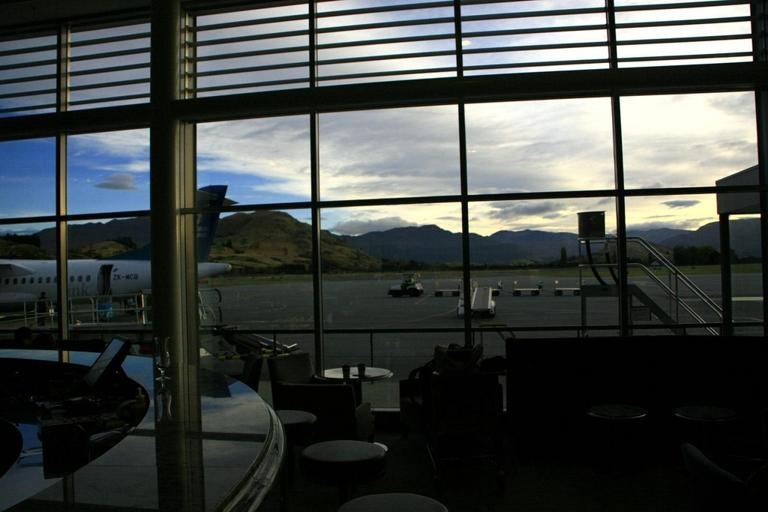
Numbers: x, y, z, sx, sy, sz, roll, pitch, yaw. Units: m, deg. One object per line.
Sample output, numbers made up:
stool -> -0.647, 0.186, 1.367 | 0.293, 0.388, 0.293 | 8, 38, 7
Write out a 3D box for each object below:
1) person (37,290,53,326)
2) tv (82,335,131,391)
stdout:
person -> -5.427, 0.838, 11.828 | 0.204, 0.536, 0.886 | -1, -3, -25
tv -> -2.796, 1.078, 7.459 | 0.343, 0.510, 0.460 | 0, -4, -38
